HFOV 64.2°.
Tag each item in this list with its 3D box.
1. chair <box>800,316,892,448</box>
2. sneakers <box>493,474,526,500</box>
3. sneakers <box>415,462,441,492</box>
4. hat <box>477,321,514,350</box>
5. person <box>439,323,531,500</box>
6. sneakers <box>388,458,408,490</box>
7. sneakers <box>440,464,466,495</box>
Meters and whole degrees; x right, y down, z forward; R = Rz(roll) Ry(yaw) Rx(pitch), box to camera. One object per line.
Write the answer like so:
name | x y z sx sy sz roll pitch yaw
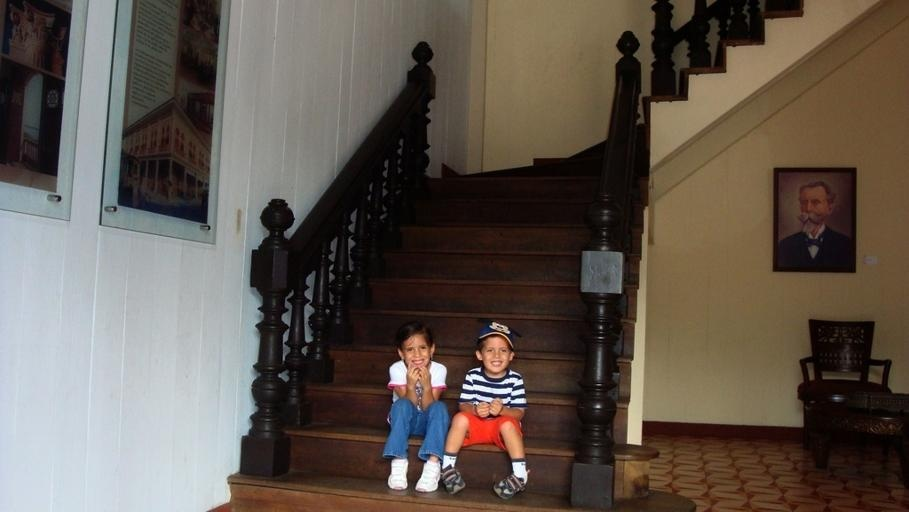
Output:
chair | 3.589 1.144 6.713 0.863 1.030 0.801 1 -3 -4
sneakers | 0.301 1.267 3.962 0.166 0.099 0.068 -13 -20 -25
sneakers | -0.149 1.231 4.008 0.089 0.087 0.202 0 -1 12
hat | 0.252 0.441 4.279 0.164 0.201 0.210 12 -1 -6
person | 0.192 0.865 4.151 0.488 0.958 0.280 3 -9 4
sneakers | -0.323 1.230 4.042 0.086 0.080 0.193 0 1 0
sneakers | -0.019 1.250 4.062 0.071 0.097 0.165 49 -5 -24
